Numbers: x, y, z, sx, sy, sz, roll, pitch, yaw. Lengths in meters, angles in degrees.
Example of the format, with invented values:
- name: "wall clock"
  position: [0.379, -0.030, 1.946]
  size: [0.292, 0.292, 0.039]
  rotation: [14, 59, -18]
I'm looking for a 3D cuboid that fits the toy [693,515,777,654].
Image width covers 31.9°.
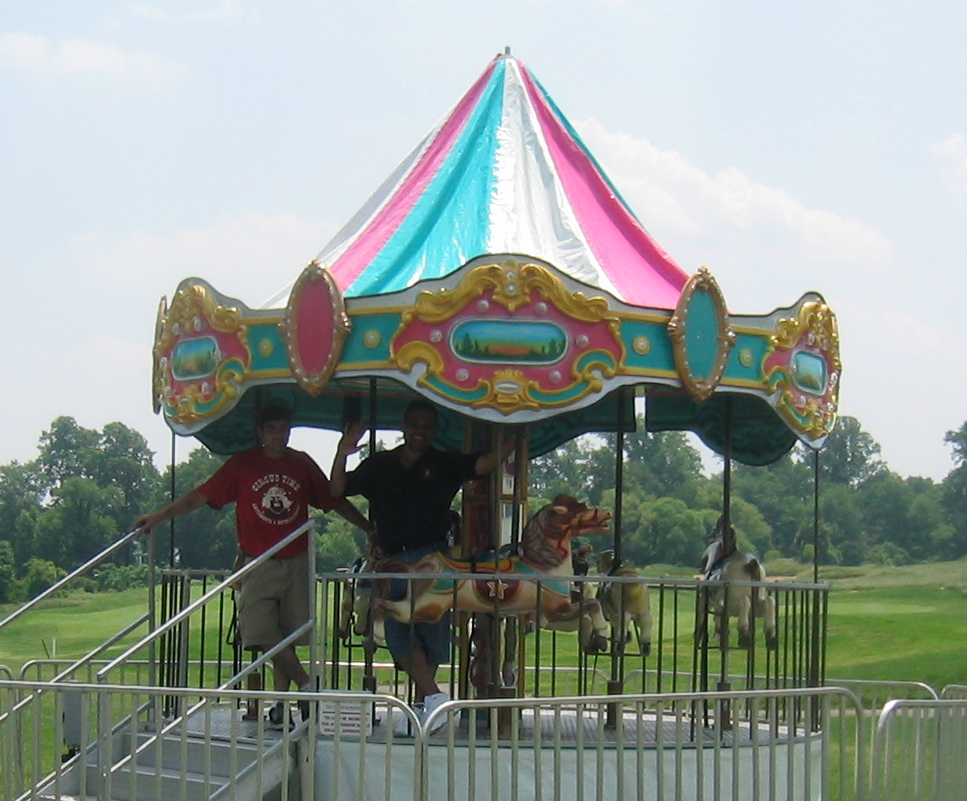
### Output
- name: "toy"
  position: [2.475, 1.808, 16.678]
  size: [0.448, 1.282, 1.608]
  rotation: [7, -5, -12]
